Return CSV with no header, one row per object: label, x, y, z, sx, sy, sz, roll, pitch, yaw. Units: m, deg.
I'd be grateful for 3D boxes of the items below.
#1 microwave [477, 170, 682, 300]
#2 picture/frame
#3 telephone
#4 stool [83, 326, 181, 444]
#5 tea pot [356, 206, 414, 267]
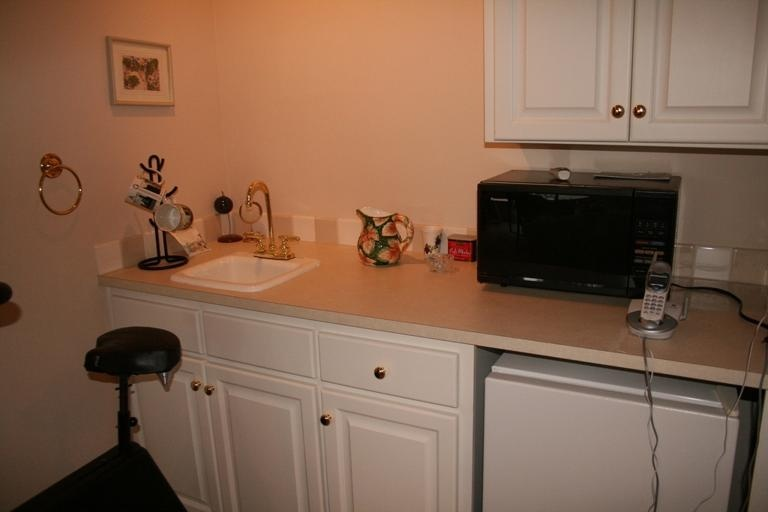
microwave,0.772,-0.274,2.177,0.709,0.447,0.525,6,19,25
picture/frame,-1.178,-0.880,2.630,0.035,0.309,0.369,5,13,29
telephone,0.942,0.136,1.922,0.162,0.241,0.210,17,36,38
stool,-0.845,0.457,1.915,0.285,0.393,0.214,-3,14,-13
tea pot,0.008,-0.090,2.604,0.309,0.274,0.208,1,15,5
